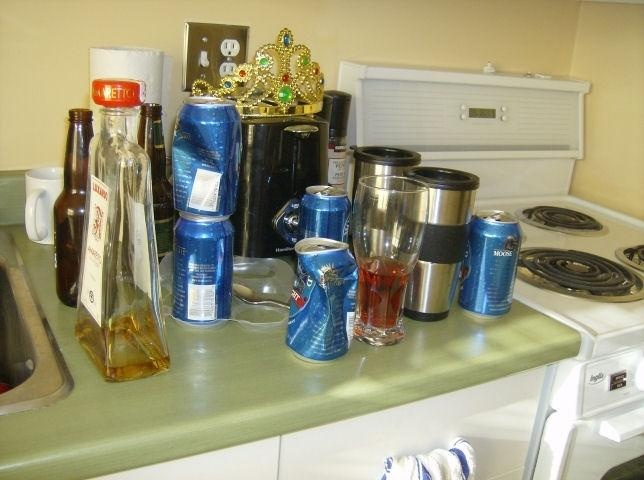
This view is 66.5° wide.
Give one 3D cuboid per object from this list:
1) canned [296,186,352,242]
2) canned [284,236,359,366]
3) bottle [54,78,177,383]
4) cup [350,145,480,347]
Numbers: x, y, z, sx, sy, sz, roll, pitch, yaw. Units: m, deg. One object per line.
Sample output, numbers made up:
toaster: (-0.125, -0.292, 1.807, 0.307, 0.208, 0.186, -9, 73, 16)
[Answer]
canned: (0.004, -0.046, 0.860, 0.077, 0.093, 0.068, -13, 23, -40)
canned: (-0.003, 0.092, 0.747, 0.105, 0.185, 0.057, 5, 18, 10)
bottle: (-0.294, 0.002, 0.683, 0.117, 0.362, 0.140, -8, 20, -27)
cup: (0.153, 0.020, 0.853, 0.198, 0.267, 0.217, 1, 17, 0)
